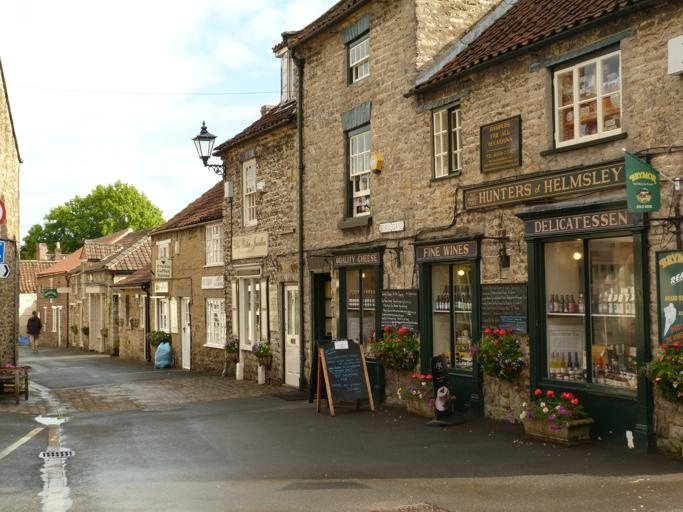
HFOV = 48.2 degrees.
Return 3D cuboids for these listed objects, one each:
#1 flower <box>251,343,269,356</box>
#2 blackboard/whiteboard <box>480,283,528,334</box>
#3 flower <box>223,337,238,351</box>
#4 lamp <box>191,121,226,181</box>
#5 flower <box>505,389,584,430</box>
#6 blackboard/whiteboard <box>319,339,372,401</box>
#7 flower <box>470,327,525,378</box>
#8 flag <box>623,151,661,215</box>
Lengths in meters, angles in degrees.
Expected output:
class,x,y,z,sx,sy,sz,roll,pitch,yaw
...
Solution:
class,x,y,z,sx,sy,sz,roll,pitch,yaw
flower,-2.148,2.539,20.811,0.334,0.217,0.352,1,2,-17
blackboard/whiteboard,3.013,0.934,14.202,0.157,0.895,1.083,-3,2,-31
flower,-3.198,2.624,22.461,0.378,0.372,0.397,-2,1,-16
lamp,-3.604,-2.984,21.307,0.755,1.579,0.430,-5,9,-28
flower,3.574,2.541,13.064,0.728,0.549,1.139,-4,2,-44
blackboard/whiteboard,0.088,2.515,16.114,0.889,1.439,0.513,-2,-32,-12
flower,2.924,1.816,14.023,0.461,0.939,0.798,-3,2,-41
flag,4.631,-1.080,11.748,0.402,1.022,0.471,0,-1,-28
